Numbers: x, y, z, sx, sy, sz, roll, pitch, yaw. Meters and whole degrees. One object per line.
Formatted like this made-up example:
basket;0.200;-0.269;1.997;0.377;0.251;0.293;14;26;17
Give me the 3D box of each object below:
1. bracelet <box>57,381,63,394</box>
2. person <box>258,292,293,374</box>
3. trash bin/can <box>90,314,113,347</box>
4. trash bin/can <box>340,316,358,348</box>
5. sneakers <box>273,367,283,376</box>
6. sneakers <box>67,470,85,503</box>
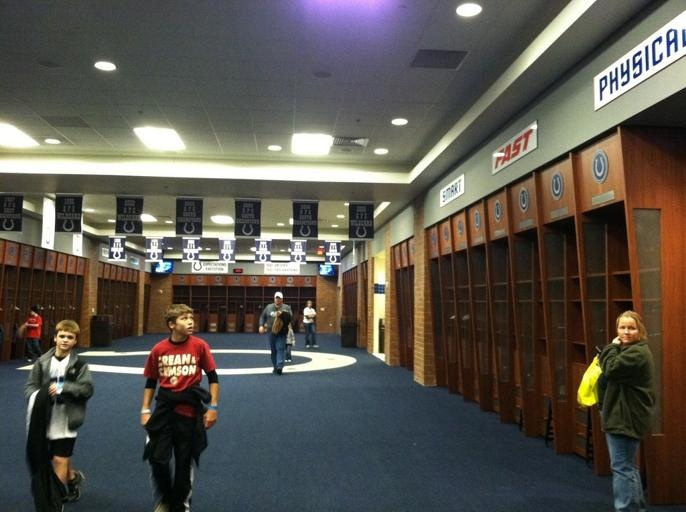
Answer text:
bracelet;-2.660;1.240;4.601;0.093;0.097;0.031;-3;-9;25
person;-1.725;1.945;12.757;0.845;2.016;0.755;-3;-5;37
trash bin/can;-10.312;3.242;21.227;0.727;1.344;0.767;0;-3;7
trash bin/can;0.408;3.331;22.081;1.069;1.896;1.129;0;0;0
sneakers;-1.699;3.033;12.891;0.214;0.220;0.208;2;4;22
sneakers;-2.678;2.316;4.900;0.115;0.157;0.349;4;3;-9
